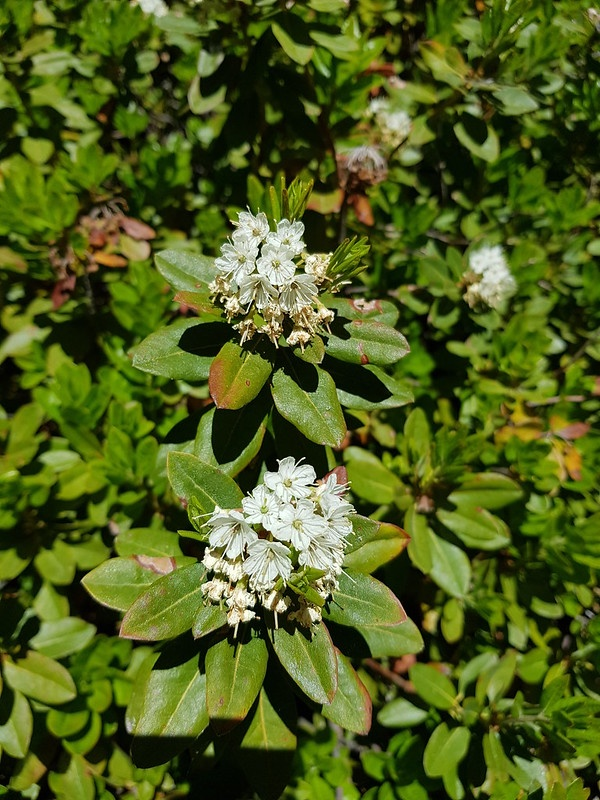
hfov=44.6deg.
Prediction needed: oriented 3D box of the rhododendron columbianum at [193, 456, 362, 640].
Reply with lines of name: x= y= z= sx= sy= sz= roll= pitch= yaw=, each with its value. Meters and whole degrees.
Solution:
rhododendron columbianum: x=-0.070 y=0.377 z=1.931 sx=0.449 sy=0.434 sz=0.382 roll=11 pitch=74 yaw=-22

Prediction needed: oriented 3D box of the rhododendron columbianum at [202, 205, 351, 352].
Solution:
rhododendron columbianum: x=-0.057 y=-0.294 z=1.901 sx=0.341 sy=0.368 sz=0.311 roll=19 pitch=49 yaw=-9

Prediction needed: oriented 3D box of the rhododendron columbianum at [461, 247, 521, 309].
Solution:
rhododendron columbianum: x=0.635 y=-0.404 z=2.458 sx=0.206 sy=0.195 sz=0.076 roll=8 pitch=9 yaw=17
